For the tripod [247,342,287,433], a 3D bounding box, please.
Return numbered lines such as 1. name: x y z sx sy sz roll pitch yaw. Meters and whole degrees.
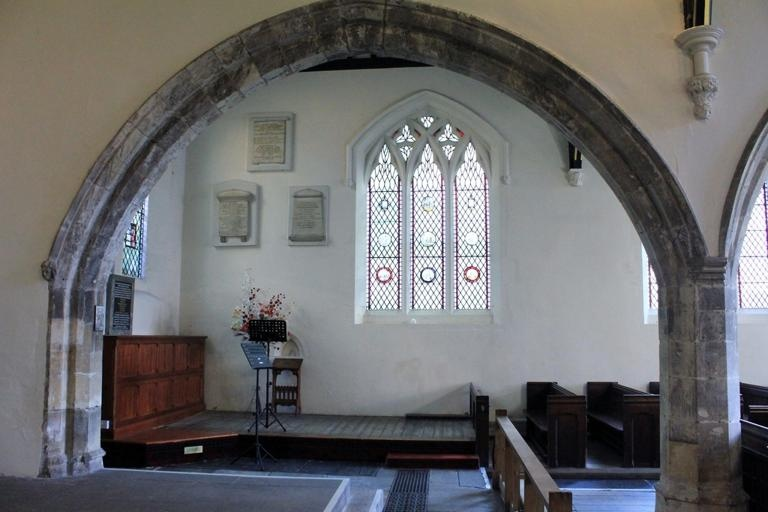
1. tripod: -1.810 2.085 9.976 0.580 1.406 1.174 -1 -6 -1
